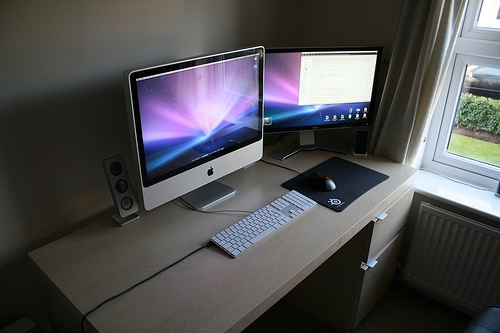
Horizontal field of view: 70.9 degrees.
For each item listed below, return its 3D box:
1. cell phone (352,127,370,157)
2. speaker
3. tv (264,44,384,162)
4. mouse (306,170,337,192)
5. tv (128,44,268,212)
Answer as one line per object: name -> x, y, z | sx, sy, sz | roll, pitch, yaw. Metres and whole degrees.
cell phone -> 0.708, -0.160, 2.259 | 0.121, 0.173, 0.123 | 6, 1, -21
speaker -> -0.643, 0.110, 1.715 | 0.163, 0.328, 0.165 | -10, 18, -4
tv -> 0.454, -0.391, 2.112 | 0.660, 0.576, 0.196 | -10, 34, -14
mouse -> 0.394, 0.079, 1.912 | 0.146, 0.052, 0.083 | 25, 46, 35
tv -> -0.268, -0.183, 1.693 | 0.217, 0.661, 0.691 | 31, 40, 34
